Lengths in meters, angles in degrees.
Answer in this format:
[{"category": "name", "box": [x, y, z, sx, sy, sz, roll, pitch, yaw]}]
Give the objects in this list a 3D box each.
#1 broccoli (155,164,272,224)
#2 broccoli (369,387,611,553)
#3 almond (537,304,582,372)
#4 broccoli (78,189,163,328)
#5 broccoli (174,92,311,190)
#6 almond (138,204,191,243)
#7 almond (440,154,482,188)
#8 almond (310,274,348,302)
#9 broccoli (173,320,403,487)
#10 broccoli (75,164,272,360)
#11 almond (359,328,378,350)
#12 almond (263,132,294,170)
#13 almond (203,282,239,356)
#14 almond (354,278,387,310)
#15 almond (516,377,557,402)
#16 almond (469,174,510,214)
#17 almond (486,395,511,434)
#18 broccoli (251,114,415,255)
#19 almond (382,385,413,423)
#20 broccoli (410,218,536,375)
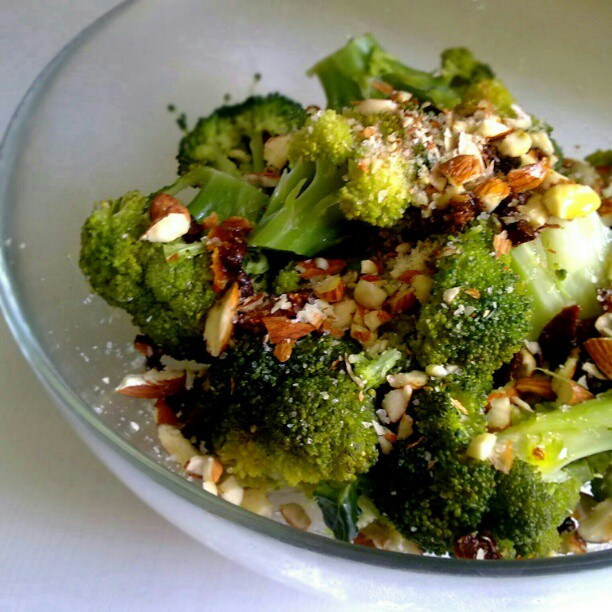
[{"category": "broccoli", "box": [-0.121, -0.150, 1.042, 0.112, 0.031, 0.097, 32, 65, 15]}, {"category": "broccoli", "box": [0.247, 0.203, 0.949, 0.302, 0.101, 0.124, -21, 83, -6]}, {"category": "almond", "box": [0.328, 0.037, 0.987, 0.043, 0.049, 0.098, 23, 58, 5]}, {"category": "broccoli", "box": [-0.236, -0.065, 0.984, 0.130, 0.087, 0.155, 1, 101, 11]}, {"category": "broccoli", "box": [-0.078, -0.239, 1.188, 0.194, 0.196, 0.083, -10, 114, 17]}, {"category": "almond", "box": [-0.173, -0.102, 0.969, 0.077, 0.039, 0.040, -23, 83, -6]}, {"category": "almond", "box": [0.195, -0.175, 0.970, 0.058, 0.020, 0.036, -35, 74, -11]}, {"category": "almond", "box": [0.029, -0.023, 0.983, 0.045, 0.014, 0.039, 9, 29, 0]}, {"category": "broccoli", "box": [-0.014, 0.096, 0.967, 0.370, 0.110, 0.229, -9, 86, -30]}, {"category": "broccoli", "box": [-0.161, -0.053, 1.098, 0.272, 0.108, 0.271, 37, 77, 9]}, {"category": "almond", "box": [0.079, 0.040, 0.957, 0.028, 0.008, 0.021, 13, 87, -4]}, {"category": "almond", "box": [-0.046, -0.218, 1.091, 0.060, 0.018, 0.046, 13, 87, 46]}, {"category": "almond", "box": [-0.101, 0.025, 0.964, 0.070, 0.020, 0.101, -17, 48, 24]}, {"category": "almond", "box": [0.079, -0.014, 0.975, 0.042, 0.025, 0.031, 28, 61, 10]}, {"category": "almond", "box": [0.291, 0.102, 0.963, 0.043, 0.012, 0.031, -11, 64, -14]}, {"category": "almond", "box": [0.233, -0.143, 0.973, 0.052, 0.013, 0.049, 39, 80, 16]}, {"category": "almond", "box": [0.235, 0.131, 0.932, 0.042, 0.012, 0.035, 3, 71, 5]}, {"category": "broccoli", "box": [0.043, -0.154, 1.001, 0.203, 0.154, 0.183, 28, 95, 6]}, {"category": "almond", "box": [0.111, 0.116, 0.926, 0.041, 0.012, 0.041, 21, 90, 20]}, {"category": "broccoli", "box": [0.198, -0.008, 0.917, 0.136, 0.073, 0.164, 1, 93, -14]}]
